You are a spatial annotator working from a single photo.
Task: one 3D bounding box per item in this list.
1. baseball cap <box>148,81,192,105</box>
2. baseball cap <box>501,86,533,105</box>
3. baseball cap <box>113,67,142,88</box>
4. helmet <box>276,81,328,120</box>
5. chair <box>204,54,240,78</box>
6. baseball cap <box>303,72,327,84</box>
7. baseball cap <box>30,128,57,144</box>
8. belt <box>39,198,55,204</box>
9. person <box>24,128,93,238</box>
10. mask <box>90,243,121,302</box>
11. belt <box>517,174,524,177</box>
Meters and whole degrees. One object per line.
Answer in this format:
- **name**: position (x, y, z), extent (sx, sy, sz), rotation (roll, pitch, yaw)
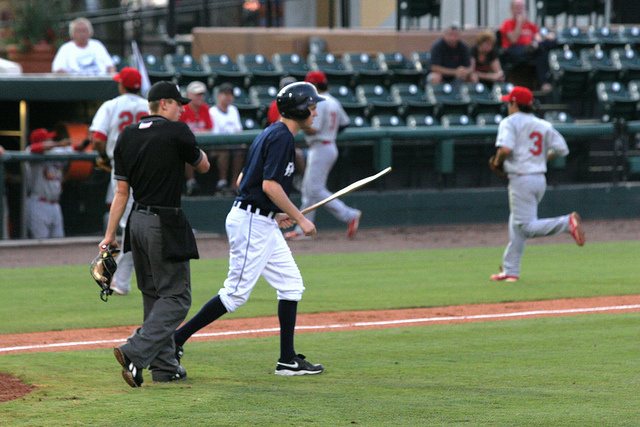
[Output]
- **baseball cap**: position (-1.863, -1.458, 16.930), extent (0.462, 0.213, 0.261), rotation (-7, 10, -13)
- **baseball cap**: position (2.794, -1.664, 19.792), extent (0.426, 0.188, 0.252), rotation (4, 14, 20)
- **baseball cap**: position (-2.706, -1.859, 19.213), extent (0.262, 0.171, 0.361), rotation (-3, 19, -38)
- **helmet**: position (-0.205, -1.396, 17.197), extent (0.676, 0.446, 0.535), rotation (6, 17, 29)
- **chair**: position (-1.867, -2.710, 25.824), extent (0.642, 0.433, 0.969), rotation (0, 5, -4)
- **baseball cap**: position (-0.099, -2.081, 21.570), extent (0.386, 0.169, 0.208), rotation (1, 8, 0)
- **baseball cap**: position (-4.462, -1.224, 22.245), extent (0.392, 0.173, 0.221), rotation (-9, 19, -16)
- **belt**: position (-4.377, -0.188, 22.014), extent (0.242, 0.097, 0.025), rotation (-3, 6, -31)
- **person**: position (-4.366, -0.455, 22.130), extent (0.819, 1.698, 1.384), rotation (-2, 6, -22)
- **mask**: position (-2.680, 0.710, 17.098), extent (0.349, 0.615, 0.495), rotation (9, -9, -10)
- **belt**: position (2.833, -0.534, 19.679), extent (0.048, 0.030, 0.045), rotation (-1, 4, -27)
